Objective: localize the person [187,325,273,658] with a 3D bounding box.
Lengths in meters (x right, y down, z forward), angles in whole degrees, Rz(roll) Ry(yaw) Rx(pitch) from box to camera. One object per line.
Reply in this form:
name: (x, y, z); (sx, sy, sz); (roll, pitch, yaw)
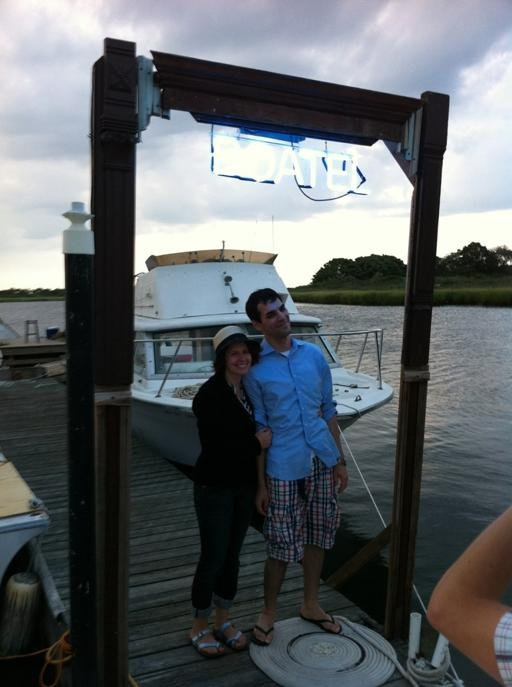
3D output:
person: (-0.132, 0.796, 3.023); (0.391, 1.511, 0.425); (2, 0, -2)
